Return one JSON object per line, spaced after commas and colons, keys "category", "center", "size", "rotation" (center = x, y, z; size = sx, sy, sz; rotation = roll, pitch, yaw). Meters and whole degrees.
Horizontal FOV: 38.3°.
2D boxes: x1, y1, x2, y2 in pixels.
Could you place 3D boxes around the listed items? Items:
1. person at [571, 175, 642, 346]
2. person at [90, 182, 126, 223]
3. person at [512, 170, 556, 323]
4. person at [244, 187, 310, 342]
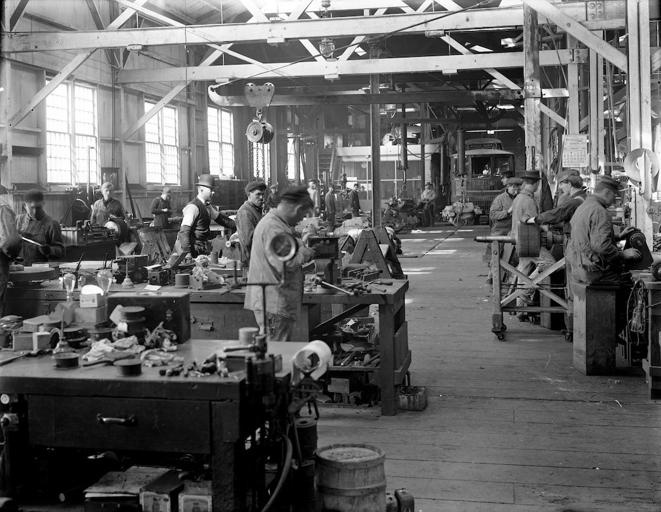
{"category": "person", "center": [2.933, 0.021, 10.200], "size": [0.692, 1.743, 0.558], "rotation": [-2, 1, 12]}
{"category": "person", "center": [-3.910, -0.837, 16.543], "size": [0.591, 0.885, 0.414], "rotation": [-1, -17, -4]}
{"category": "person", "center": [2.484, 0.013, 11.779], "size": [0.379, 1.213, 0.368], "rotation": [-2, 0, 5]}
{"category": "person", "center": [-0.494, 0.122, 8.526], "size": [0.723, 1.800, 0.651], "rotation": [-3, 29, -7]}
